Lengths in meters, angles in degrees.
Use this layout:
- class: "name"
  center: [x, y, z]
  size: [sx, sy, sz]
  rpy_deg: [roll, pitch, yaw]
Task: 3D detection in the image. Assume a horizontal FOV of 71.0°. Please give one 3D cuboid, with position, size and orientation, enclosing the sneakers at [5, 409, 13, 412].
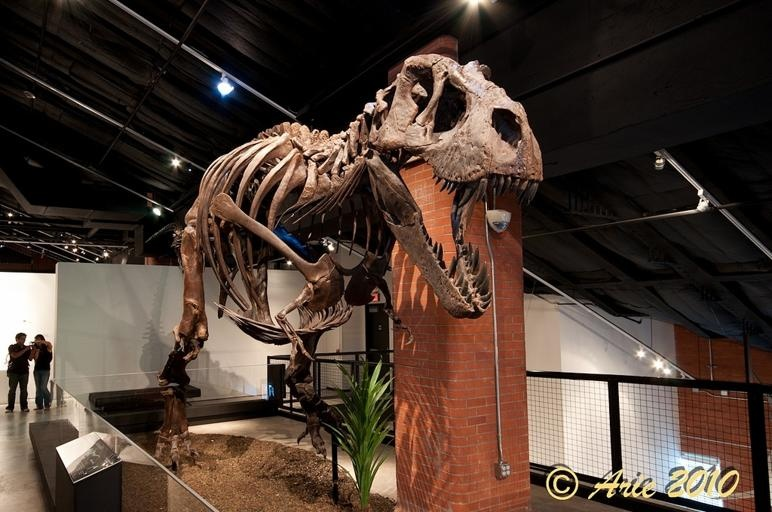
- class: "sneakers"
  center: [-8.205, 3.342, 11.781]
  size: [0.238, 0.100, 0.081]
  rpy_deg: [-11, -15, 43]

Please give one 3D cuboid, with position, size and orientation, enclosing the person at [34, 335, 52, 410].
- class: "person"
  center: [-7.351, 2.497, 11.574]
  size: [0.359, 1.665, 0.756]
  rpy_deg: [3, -3, -33]

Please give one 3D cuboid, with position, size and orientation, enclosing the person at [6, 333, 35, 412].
- class: "person"
  center: [-8.006, 2.512, 11.811]
  size: [0.412, 1.735, 1.231]
  rpy_deg: [3, -4, -35]
